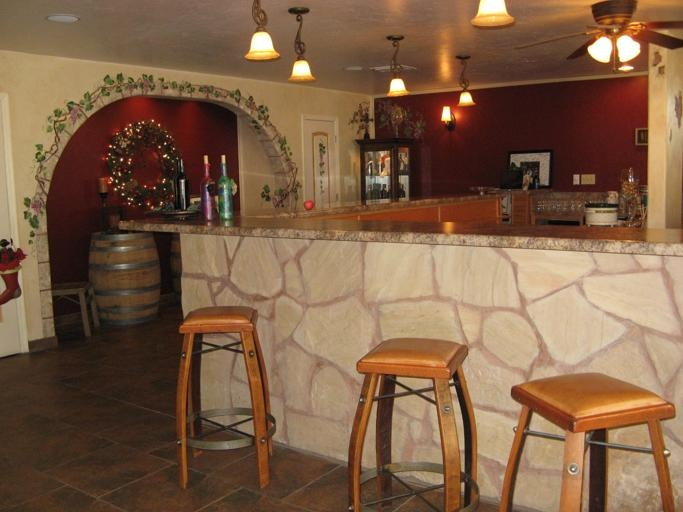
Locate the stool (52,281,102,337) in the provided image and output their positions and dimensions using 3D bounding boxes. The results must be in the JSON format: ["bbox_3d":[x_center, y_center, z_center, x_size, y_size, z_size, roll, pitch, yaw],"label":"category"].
[{"bbox_3d":[-2.938,0.588,6.040,0.465,0.635,0.466,-4,8,19],"label":"stool"}]

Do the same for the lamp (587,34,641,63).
[{"bbox_3d":[1.836,-1.464,3.739,0.253,0.124,0.241,1,-2,5],"label":"lamp"}]

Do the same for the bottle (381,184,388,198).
[{"bbox_3d":[0.645,-0.973,8.094,0.116,0.197,0.066,1,11,13],"label":"bottle"}]

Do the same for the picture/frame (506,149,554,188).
[{"bbox_3d":[2.747,-1.261,7.880,0.589,0.504,0.059,3,3,35],"label":"picture/frame"}]

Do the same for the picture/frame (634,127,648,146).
[{"bbox_3d":[3.947,-1.571,7.191,0.121,0.247,0.061,0,11,12],"label":"picture/frame"}]

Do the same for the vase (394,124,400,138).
[{"bbox_3d":[0.891,-2.061,8.900,0.080,0.195,0.180,1,10,15],"label":"vase"}]

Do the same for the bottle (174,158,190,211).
[{"bbox_3d":[-1.201,-0.536,4.060,0.102,0.373,0.356,-5,10,-16],"label":"bottle"}]

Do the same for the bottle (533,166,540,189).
[{"bbox_3d":[2.801,-1.129,7.828,0.083,0.292,0.130,1,11,15],"label":"bottle"}]

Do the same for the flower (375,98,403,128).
[{"bbox_3d":[0.751,-2.337,8.923,0.493,0.451,0.129,3,10,27],"label":"flower"}]

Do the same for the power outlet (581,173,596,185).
[{"bbox_3d":[3.419,-1.068,7.565,0.197,0.149,0.031,6,13,37],"label":"power outlet"}]

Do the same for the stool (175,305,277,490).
[{"bbox_3d":[-0.688,0.743,3.183,0.560,0.953,0.779,-4,10,-9],"label":"stool"}]

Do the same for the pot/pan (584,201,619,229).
[{"bbox_3d":[1.696,-0.271,3.615,0.228,0.167,0.225,-2,2,-43],"label":"pot/pan"}]
